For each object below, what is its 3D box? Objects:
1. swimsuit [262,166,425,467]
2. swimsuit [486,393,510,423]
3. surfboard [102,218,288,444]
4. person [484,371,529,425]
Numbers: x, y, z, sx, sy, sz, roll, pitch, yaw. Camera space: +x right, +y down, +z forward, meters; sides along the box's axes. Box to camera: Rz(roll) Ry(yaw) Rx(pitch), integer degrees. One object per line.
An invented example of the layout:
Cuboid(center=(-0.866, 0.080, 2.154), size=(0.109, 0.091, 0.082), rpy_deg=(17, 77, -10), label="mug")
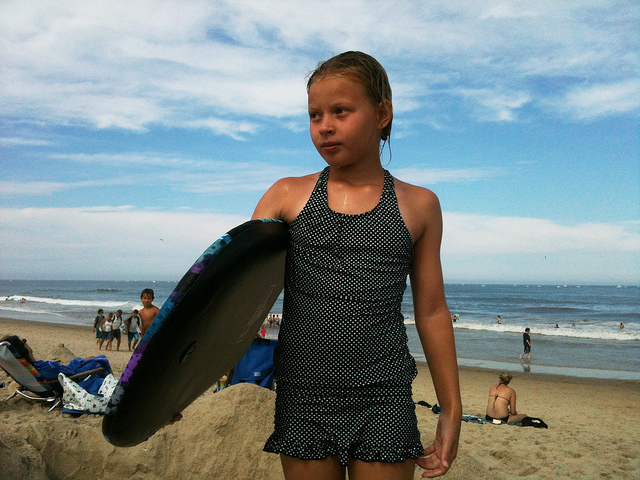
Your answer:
Cuboid(center=(0.157, 0.320, 2.215), size=(0.696, 1.144, 0.801), rpy_deg=(5, 2, -5), label="swimsuit")
Cuboid(center=(3.447, 3.268, 9.711), size=(0.415, 0.408, 0.478), rpy_deg=(1, -1, 35), label="swimsuit")
Cuboid(center=(-0.421, 0.304, 2.079), size=(0.151, 1.154, 0.947), rpy_deg=(47, 32, 17), label="surfboard")
Cuboid(center=(3.643, 3.197, 10.144), size=(0.821, 0.917, 0.924), rpy_deg=(18, -14, -42), label="person")
